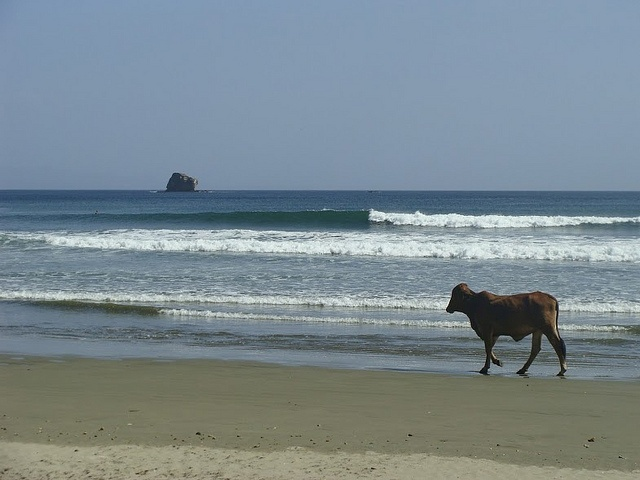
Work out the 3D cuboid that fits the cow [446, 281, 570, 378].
[{"bbox_3d":[2.935,1.443,16.436,2.328,1.309,0.601,0,-8,39],"label":"cow"}]
